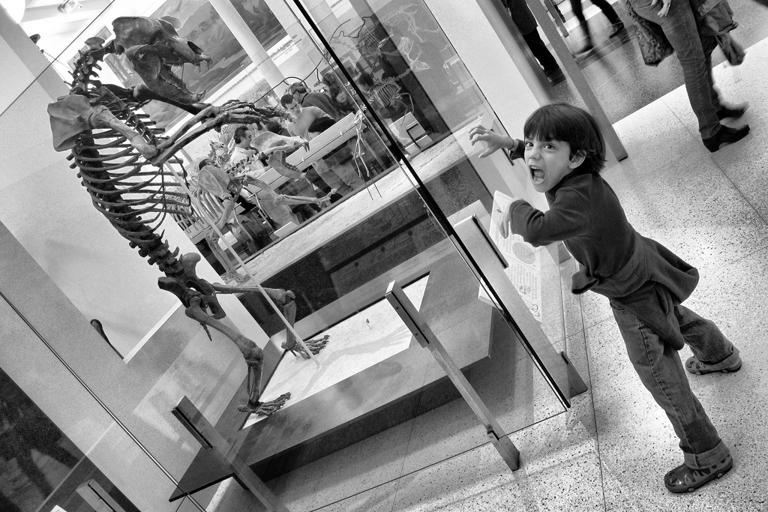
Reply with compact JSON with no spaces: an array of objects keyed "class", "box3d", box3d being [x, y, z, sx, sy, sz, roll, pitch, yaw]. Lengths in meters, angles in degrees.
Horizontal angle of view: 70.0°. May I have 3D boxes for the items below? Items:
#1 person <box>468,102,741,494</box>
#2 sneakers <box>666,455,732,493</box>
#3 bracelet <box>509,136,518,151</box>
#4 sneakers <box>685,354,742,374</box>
[{"class":"person","box3d":[0.999,0.153,2.331,0.461,1.563,0.832,-22,25,40]},{"class":"sneakers","box3d":[1.285,0.920,2.300,0.277,0.130,0.131,-18,29,28]},{"class":"bracelet","box3d":[0.608,-0.531,2.615,0.042,0.046,0.048,0,13,-3]},{"class":"sneakers","box3d":[1.547,0.515,2.582,0.201,0.093,0.099,4,28,35]}]
